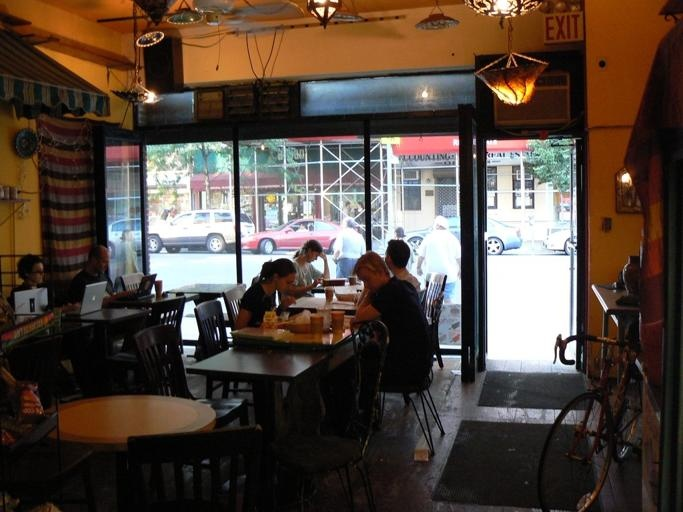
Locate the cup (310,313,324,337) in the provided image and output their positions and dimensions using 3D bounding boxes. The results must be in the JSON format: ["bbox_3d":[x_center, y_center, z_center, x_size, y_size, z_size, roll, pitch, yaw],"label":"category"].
[{"bbox_3d":[-0.162,0.443,4.112,0.092,0.120,0.101,2,-2,0],"label":"cup"}]

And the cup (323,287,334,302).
[{"bbox_3d":[-0.106,0.338,5.442,0.096,0.117,0.104,-1,2,0],"label":"cup"}]

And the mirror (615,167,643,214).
[{"bbox_3d":[2.776,-0.634,5.998,0.228,0.442,0.144,2,6,26],"label":"mirror"}]

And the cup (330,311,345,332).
[{"bbox_3d":[-0.028,0.436,4.174,0.105,0.134,0.113,0,-3,0],"label":"cup"}]

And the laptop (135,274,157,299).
[{"bbox_3d":[-1.977,0.296,6.265,0.171,0.196,0.262,15,10,11],"label":"laptop"}]

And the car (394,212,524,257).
[{"bbox_3d":[2.735,-0.364,13.887,2.683,1.017,1.318,4,0,-1],"label":"car"}]

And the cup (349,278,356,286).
[{"bbox_3d":[0.116,0.264,6.475,0.063,0.079,0.067,0,2,0],"label":"cup"}]
